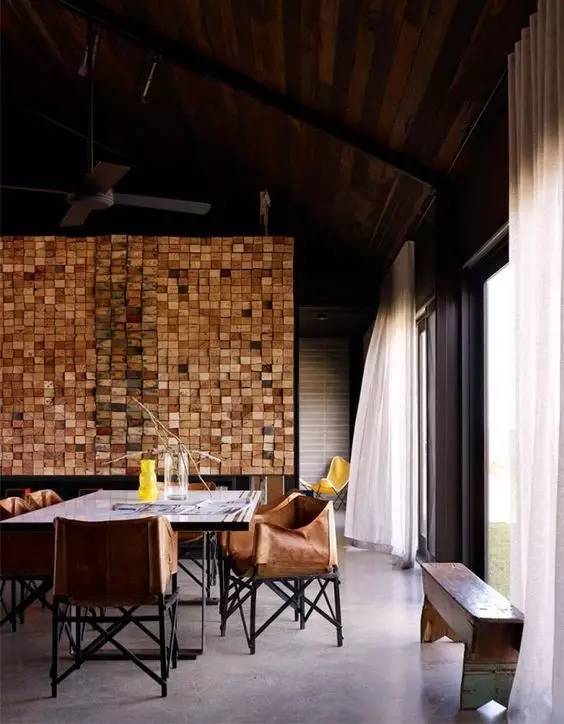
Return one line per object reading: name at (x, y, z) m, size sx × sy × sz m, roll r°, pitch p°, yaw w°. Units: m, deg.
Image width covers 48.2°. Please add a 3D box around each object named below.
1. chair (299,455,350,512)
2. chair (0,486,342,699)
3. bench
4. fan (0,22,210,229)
chair at (0.605, 1.683, 8.873) m, size 0.424 × 0.666 × 0.430 m, roll -5°, pitch -1°, yaw 1°
chair at (-0.453, 0.980, 2.777) m, size 1.074 × 0.762 × 1.515 m, roll -2°, pitch -8°, yaw 39°
bench at (0.687, 1.037, 2.445) m, size 0.152 × 0.339 × 0.745 m, roll 2°, pitch -4°, yaw -2°
fan at (-1.404, -1.824, 4.783) m, size 0.964 × 1.488 × 1.197 m, roll -3°, pitch -28°, yaw -2°
